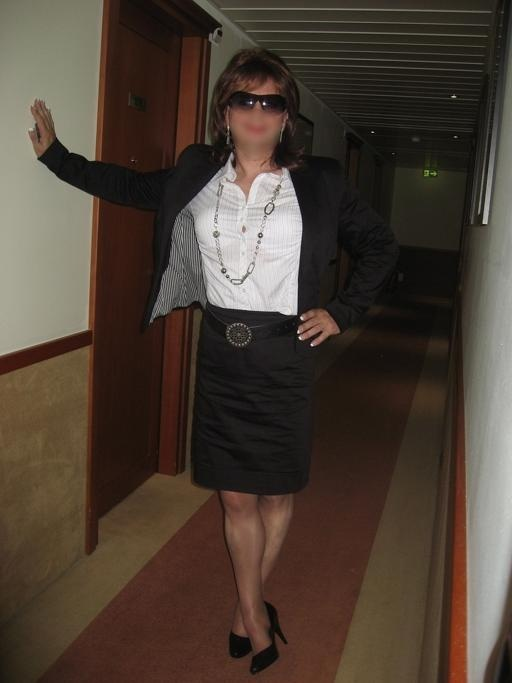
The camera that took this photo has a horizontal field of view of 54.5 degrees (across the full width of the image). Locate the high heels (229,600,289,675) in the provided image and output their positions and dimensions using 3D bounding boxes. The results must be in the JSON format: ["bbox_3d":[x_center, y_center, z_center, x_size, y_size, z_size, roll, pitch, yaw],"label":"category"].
[{"bbox_3d":[0.005,1.098,1.828,0.096,0.155,0.338,-14,-23,2],"label":"high heels"}]

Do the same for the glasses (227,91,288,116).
[{"bbox_3d":[0.006,-0.761,1.597,0.194,0.063,0.111,2,12,-5],"label":"glasses"}]

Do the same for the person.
[{"bbox_3d":[-0.084,0.036,1.842,1.096,2.156,0.551,5,10,18],"label":"person"}]
